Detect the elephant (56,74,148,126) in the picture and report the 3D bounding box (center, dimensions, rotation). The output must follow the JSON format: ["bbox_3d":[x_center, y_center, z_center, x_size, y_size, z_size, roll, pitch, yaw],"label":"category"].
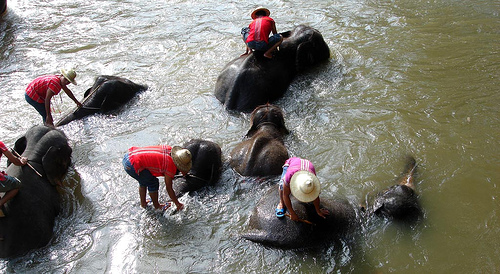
[{"bbox_3d":[-4.161,-1.178,13.554,2.833,1.055,0.884,-26,64,-32],"label":"elephant"}]

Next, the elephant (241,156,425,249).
[{"bbox_3d":[2.114,1.767,11.350,4.061,1.668,1.328,-22,11,-18],"label":"elephant"}]

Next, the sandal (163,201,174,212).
[{"bbox_3d":[-1.999,1.679,11.455,0.254,0.099,0.246,5,50,3],"label":"sandal"}]

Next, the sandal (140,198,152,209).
[{"bbox_3d":[-2.569,1.619,11.535,0.182,0.086,0.333,33,56,23],"label":"sandal"}]

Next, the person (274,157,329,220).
[{"bbox_3d":[1.117,1.158,10.699,0.804,0.802,1.777,-3,33,-5],"label":"person"}]

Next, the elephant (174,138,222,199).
[{"bbox_3d":[-1.290,0.808,11.746,1.023,0.611,1.485,15,84,9],"label":"elephant"}]

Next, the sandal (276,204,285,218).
[{"bbox_3d":[0.716,1.733,10.913,0.193,0.136,0.260,1,50,0],"label":"sandal"}]

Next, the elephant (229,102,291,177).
[{"bbox_3d":[0.417,0.234,12.333,1.130,1.184,2.099,7,68,14],"label":"elephant"}]
